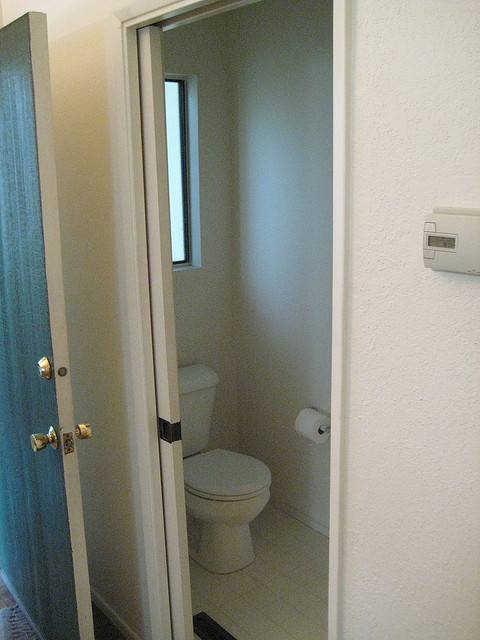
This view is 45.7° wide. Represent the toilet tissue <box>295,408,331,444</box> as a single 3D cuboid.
[{"bbox_3d":[0.254,0.367,1.960,0.101,0.100,0.095,-12,16,-35],"label":"toilet tissue"}]

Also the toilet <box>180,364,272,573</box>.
[{"bbox_3d":[-0.120,0.582,2.235,0.320,0.669,0.569,-5,8,-38],"label":"toilet"}]
